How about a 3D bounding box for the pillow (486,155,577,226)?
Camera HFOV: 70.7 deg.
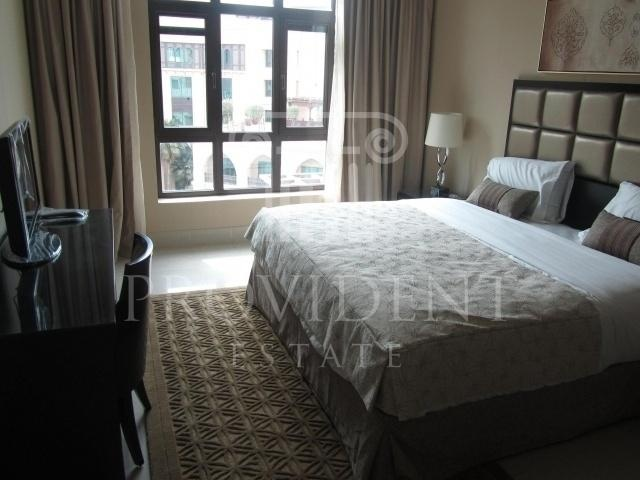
[{"bbox_3d":[1.815,-0.478,3.740,0.157,0.575,0.543,17,0,-31],"label":"pillow"}]
